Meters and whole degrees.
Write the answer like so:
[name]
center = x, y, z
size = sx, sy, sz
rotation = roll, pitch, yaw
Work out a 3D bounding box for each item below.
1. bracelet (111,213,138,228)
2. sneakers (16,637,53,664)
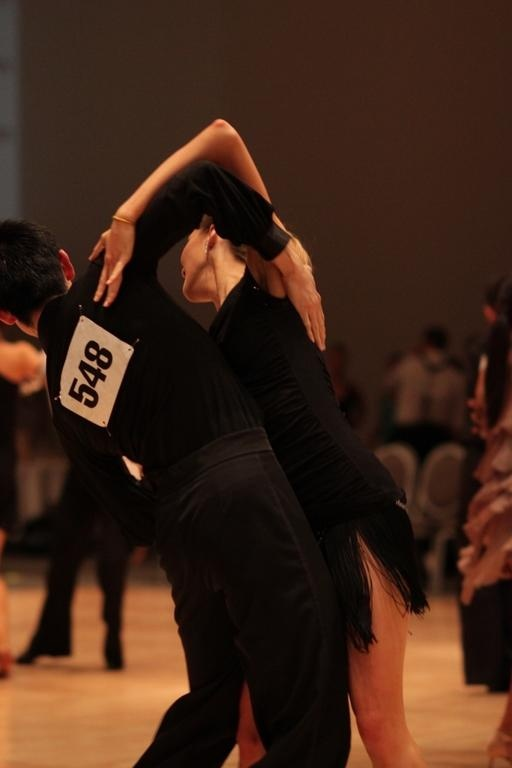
[bracelet]
center = -0.186, -0.226, 1.149
size = 0.038, 0.018, 0.022
rotation = -2, -5, 22
[sneakers]
center = -0.676, 0.828, 2.579
size = 0.086, 0.097, 0.267
rotation = 15, -24, -19
